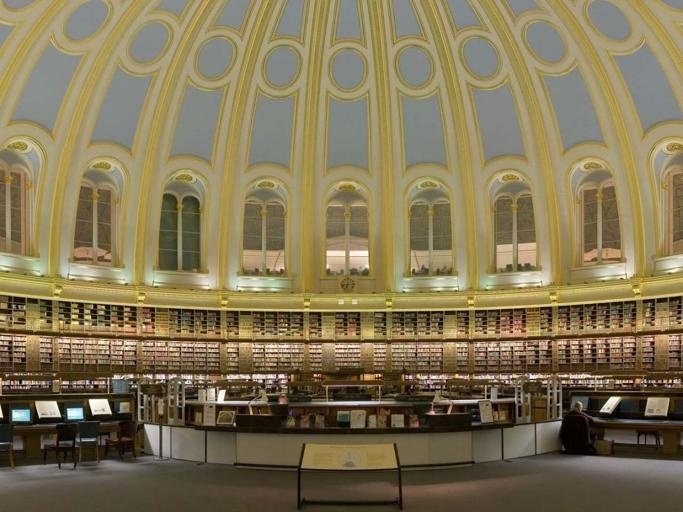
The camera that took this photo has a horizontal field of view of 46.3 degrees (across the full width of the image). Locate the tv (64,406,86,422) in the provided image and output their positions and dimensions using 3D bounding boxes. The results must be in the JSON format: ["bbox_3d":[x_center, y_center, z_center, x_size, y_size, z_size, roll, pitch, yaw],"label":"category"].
[{"bbox_3d":[-6.280,3.739,18.846,0.500,0.422,0.267,5,-19,-24],"label":"tv"}]

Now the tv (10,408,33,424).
[{"bbox_3d":[-7.301,3.667,18.205,0.493,0.413,0.262,3,-7,-17],"label":"tv"}]
